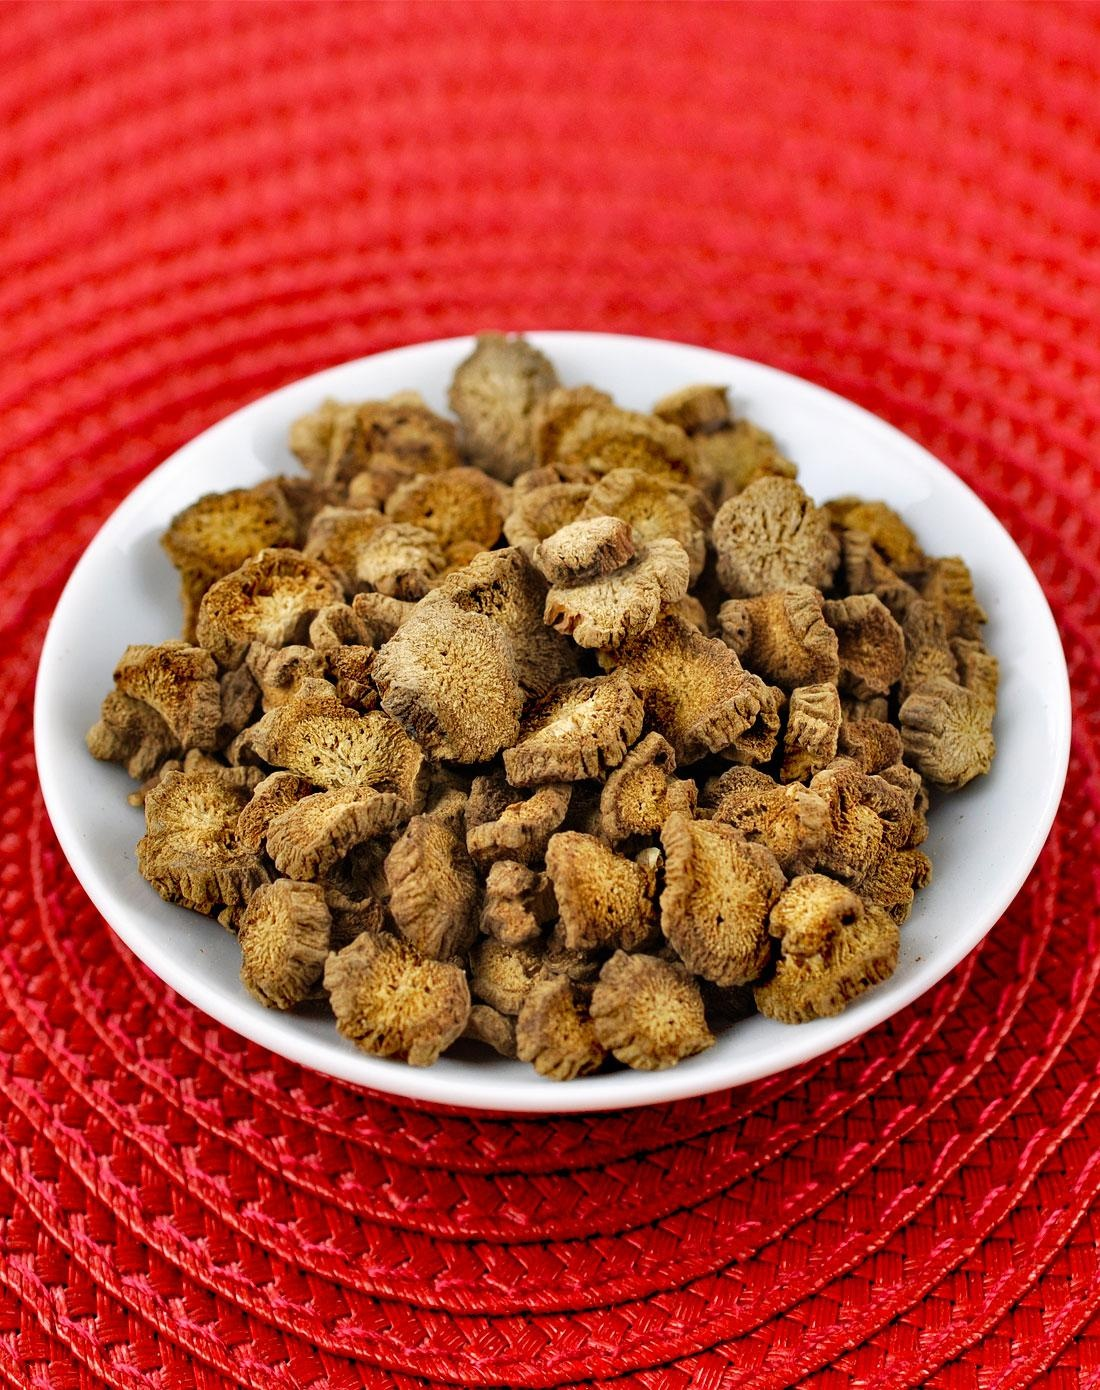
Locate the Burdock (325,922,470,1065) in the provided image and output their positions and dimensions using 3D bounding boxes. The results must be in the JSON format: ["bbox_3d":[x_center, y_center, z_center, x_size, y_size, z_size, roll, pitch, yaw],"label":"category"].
[{"bbox_3d":[-0.141,0.269,1.354,0.128,0.047,0.101,32,71,9],"label":"Burdock"}]

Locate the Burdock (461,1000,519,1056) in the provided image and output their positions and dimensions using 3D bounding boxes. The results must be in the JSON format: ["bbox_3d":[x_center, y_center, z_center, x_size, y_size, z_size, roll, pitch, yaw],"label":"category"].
[{"bbox_3d":[-0.047,0.299,1.401,0.046,0.050,0.014,54,55,-23],"label":"Burdock"}]

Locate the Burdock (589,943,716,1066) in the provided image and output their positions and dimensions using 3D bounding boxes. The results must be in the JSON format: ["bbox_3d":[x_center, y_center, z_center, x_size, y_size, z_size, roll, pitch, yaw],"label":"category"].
[{"bbox_3d":[0.084,0.274,1.363,0.035,0.138,0.113,-2,60,40],"label":"Burdock"}]
